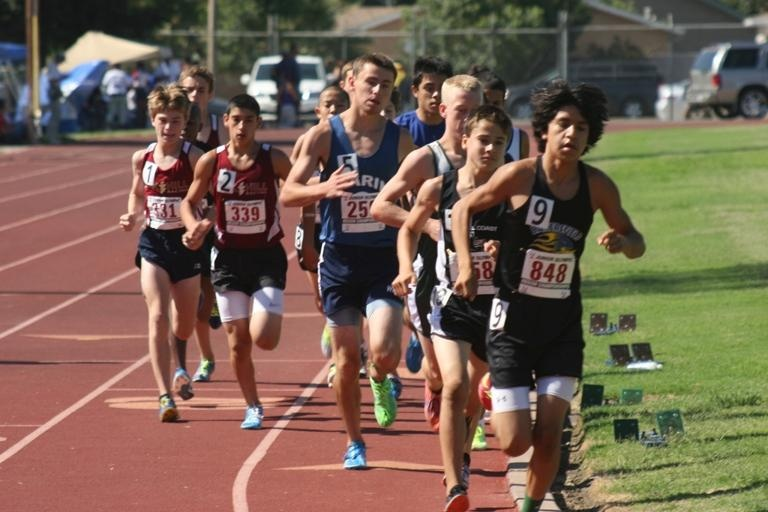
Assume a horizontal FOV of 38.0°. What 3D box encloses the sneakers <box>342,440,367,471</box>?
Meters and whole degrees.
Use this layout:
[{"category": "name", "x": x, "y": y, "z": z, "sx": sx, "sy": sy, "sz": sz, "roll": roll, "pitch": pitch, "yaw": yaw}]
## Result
[{"category": "sneakers", "x": -0.249, "y": 1.733, "z": 9.550, "sx": 0.192, "sy": 0.217, "sz": 0.490, "roll": 0, "pitch": -10, "yaw": -4}]
